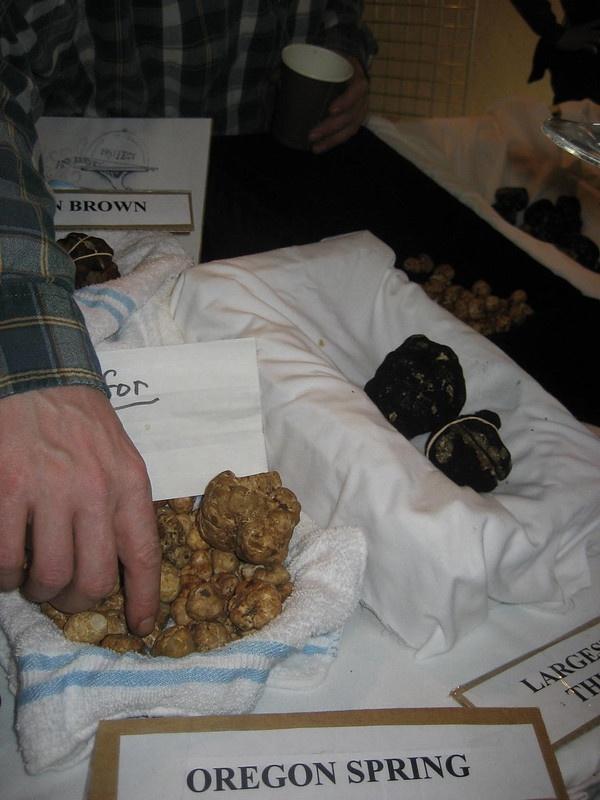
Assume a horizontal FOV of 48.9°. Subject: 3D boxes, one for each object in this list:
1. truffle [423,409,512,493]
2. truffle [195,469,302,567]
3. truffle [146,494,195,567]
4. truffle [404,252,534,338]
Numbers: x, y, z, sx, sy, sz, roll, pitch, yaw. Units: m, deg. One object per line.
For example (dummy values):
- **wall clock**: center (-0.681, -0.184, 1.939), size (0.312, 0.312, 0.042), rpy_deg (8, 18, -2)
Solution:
- **truffle**: center (0.231, 0.078, 0.931), size (0.103, 0.035, 0.108), rpy_deg (-25, 44, -9)
- **truffle**: center (-0.057, 0.132, 0.743), size (0.123, 0.052, 0.104), rpy_deg (1, 69, -4)
- **truffle**: center (-0.158, 0.152, 0.796), size (0.076, 0.023, 0.069), rpy_deg (15, 68, -41)
- **truffle**: center (0.312, -0.201, 1.247), size (0.145, 0.047, 0.217), rpy_deg (-34, 51, -24)
